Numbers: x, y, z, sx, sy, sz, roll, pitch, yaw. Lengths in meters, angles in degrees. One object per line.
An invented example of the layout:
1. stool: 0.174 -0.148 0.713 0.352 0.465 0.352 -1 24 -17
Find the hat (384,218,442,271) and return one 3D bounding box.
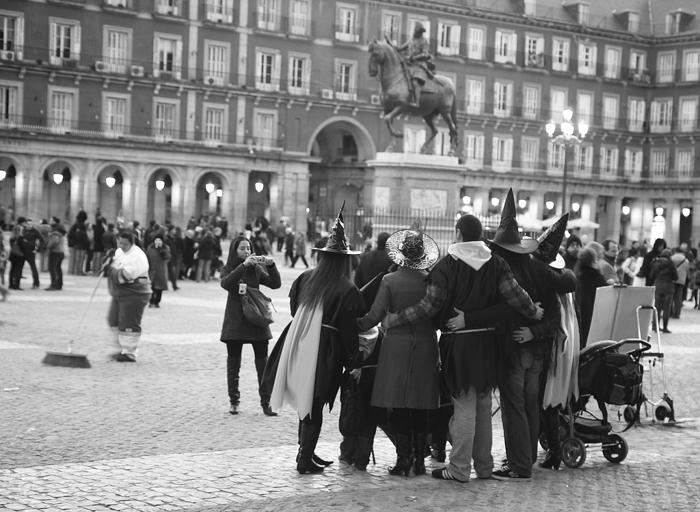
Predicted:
1. hat: 0.914 -0.122 18.614 0.782 0.579 0.315 3 2 1

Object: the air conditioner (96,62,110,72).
1. air conditioner: -11.120 -8.457 57.014 0.633 0.574 0.444 0 4 -19

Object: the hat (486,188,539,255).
1. hat: 2.450 -0.526 18.910 0.637 0.925 0.475 1 2 -36

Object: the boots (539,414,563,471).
1. boots: 3.018 2.667 19.103 0.369 0.852 0.257 4 2 26

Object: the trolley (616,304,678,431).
1. trolley: 4.795 1.748 21.307 1.300 2.341 1.239 4 10 28

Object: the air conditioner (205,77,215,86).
1. air conditioner: -6.553 -8.191 59.861 0.282 0.427 0.535 4 2 41

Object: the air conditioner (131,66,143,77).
1. air conditioner: -9.736 -8.362 57.805 0.553 0.462 0.315 1 2 -1

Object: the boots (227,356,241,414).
1. boots: -1.908 2.020 20.706 0.211 0.906 0.397 3 2 -6

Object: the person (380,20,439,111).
1. person: 1.718 -5.096 33.609 0.547 2.729 0.951 -13 11 -35

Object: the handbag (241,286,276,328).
1. handbag: -1.520 0.769 20.787 0.539 0.639 0.388 2 2 -6

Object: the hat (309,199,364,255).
1. hat: -0.160 -0.510 18.840 0.600 0.861 0.546 -5 6 -13

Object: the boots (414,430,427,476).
1. boots: 1.065 2.805 18.669 0.138 0.621 0.307 4 2 34

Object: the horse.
1. horse: 1.648 -4.229 33.530 1.263 2.858 2.805 5 3 44
